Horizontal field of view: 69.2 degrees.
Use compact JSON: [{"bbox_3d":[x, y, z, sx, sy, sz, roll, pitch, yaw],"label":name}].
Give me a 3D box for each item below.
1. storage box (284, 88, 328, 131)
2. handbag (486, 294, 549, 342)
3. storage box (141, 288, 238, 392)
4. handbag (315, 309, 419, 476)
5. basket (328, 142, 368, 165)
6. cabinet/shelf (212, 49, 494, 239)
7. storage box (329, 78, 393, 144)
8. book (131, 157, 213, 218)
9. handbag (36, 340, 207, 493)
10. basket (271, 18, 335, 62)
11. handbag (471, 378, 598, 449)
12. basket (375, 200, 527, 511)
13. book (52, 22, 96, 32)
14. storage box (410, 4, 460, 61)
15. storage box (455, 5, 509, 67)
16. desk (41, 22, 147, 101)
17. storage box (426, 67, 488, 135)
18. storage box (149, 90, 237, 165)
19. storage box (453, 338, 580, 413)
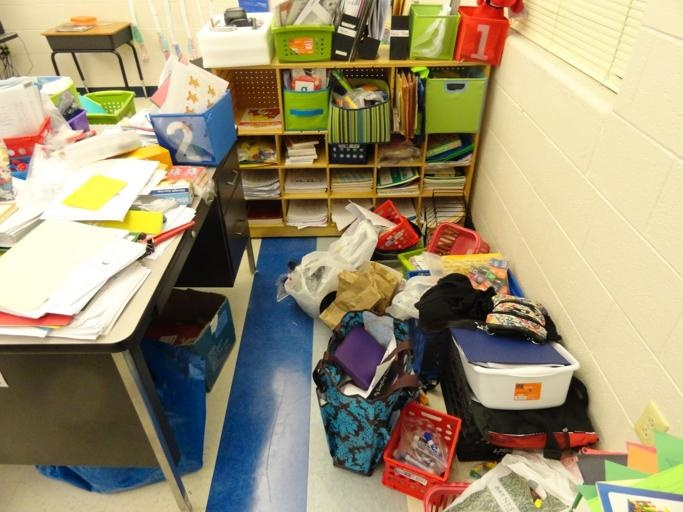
[{"bbox_3d":[-0.222,-0.898,3.043,0.270,0.241,0.256,-2,25,-5],"label":"storage box"},{"bbox_3d":[0.774,0.269,2.185,0.247,0.086,0.214,8,36,15],"label":"handbag"},{"bbox_3d":[-0.786,0.373,2.336,0.463,0.256,0.435,8,31,17],"label":"storage box"},{"bbox_3d":[0.103,0.600,2.226,0.441,0.527,0.537,6,38,13],"label":"handbag"},{"bbox_3d":[0.049,-0.655,3.099,0.258,0.147,0.132,-5,36,-2],"label":"basket"},{"bbox_3d":[0.097,-0.710,2.963,1.375,0.883,0.415,-2,47,0],"label":"cabinet/shelf"},{"bbox_3d":[0.113,-0.857,3.001,0.379,0.322,0.353,0,36,5],"label":"storage box"},{"bbox_3d":[-0.720,-0.299,2.131,0.269,0.061,0.240,3,40,4],"label":"book"},{"bbox_3d":[-0.754,0.611,2.055,0.704,0.699,0.177,-1,18,-15],"label":"handbag"},{"bbox_3d":[-0.205,-1.191,2.756,0.289,0.149,0.198,-3,54,-5],"label":"basket"},{"bbox_3d":[0.783,0.692,2.022,0.479,0.263,0.220,-7,36,-5],"label":"handbag"},{"bbox_3d":[0.533,0.274,2.862,0.821,0.459,1.336,1,45,3],"label":"basket"},{"bbox_3d":[-2.472,-2.120,4.572,0.344,0.042,0.400,-12,35,-13],"label":"book"},{"bbox_3d":[0.526,-1.296,2.835,0.269,0.262,0.308,1,36,6],"label":"storage box"},{"bbox_3d":[0.711,-1.200,2.733,0.322,0.300,0.302,3,43,1],"label":"storage box"},{"bbox_3d":[-2.376,-1.879,4.818,0.694,0.660,0.502,0,35,1],"label":"desk"},{"bbox_3d":[0.628,-0.889,2.981,0.419,0.383,0.392,-1,37,2],"label":"storage box"},{"bbox_3d":[-0.676,-0.572,2.445,0.411,0.279,0.386,2,37,5],"label":"storage box"},{"bbox_3d":[0.717,0.540,2.245,0.506,0.199,0.570,0,1,-14],"label":"storage box"}]
